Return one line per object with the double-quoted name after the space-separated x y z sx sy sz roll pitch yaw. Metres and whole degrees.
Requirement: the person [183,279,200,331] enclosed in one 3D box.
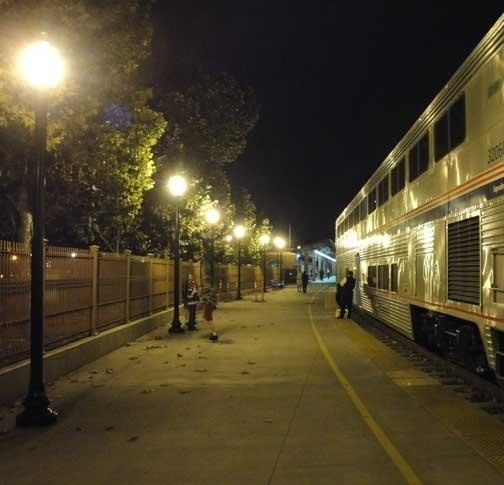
-1.917 1.926 15.179 0.454 1.644 0.791 0 -1 0 "person"
